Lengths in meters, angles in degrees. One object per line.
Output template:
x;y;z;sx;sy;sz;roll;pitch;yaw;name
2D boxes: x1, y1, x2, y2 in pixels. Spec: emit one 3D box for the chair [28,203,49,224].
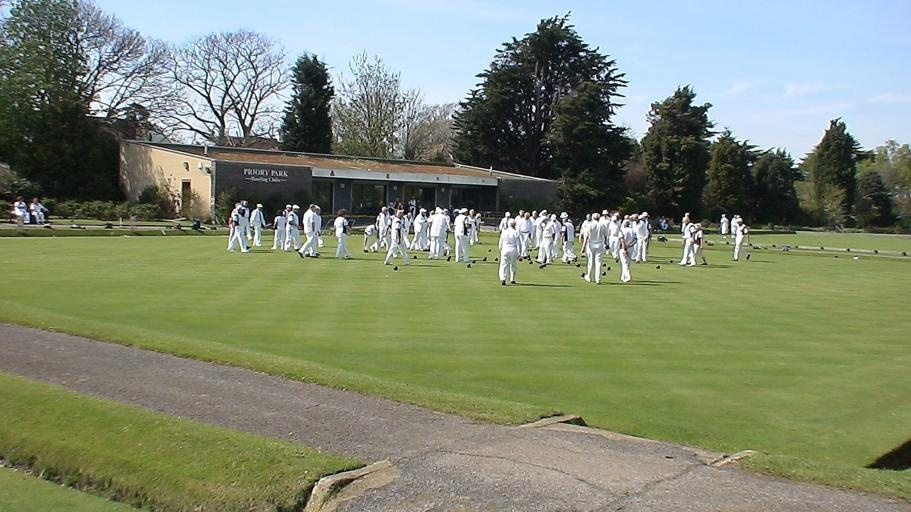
-26.114;-2.735;45.559;0.934;1.446;2.371;-1;2;-29;chair
